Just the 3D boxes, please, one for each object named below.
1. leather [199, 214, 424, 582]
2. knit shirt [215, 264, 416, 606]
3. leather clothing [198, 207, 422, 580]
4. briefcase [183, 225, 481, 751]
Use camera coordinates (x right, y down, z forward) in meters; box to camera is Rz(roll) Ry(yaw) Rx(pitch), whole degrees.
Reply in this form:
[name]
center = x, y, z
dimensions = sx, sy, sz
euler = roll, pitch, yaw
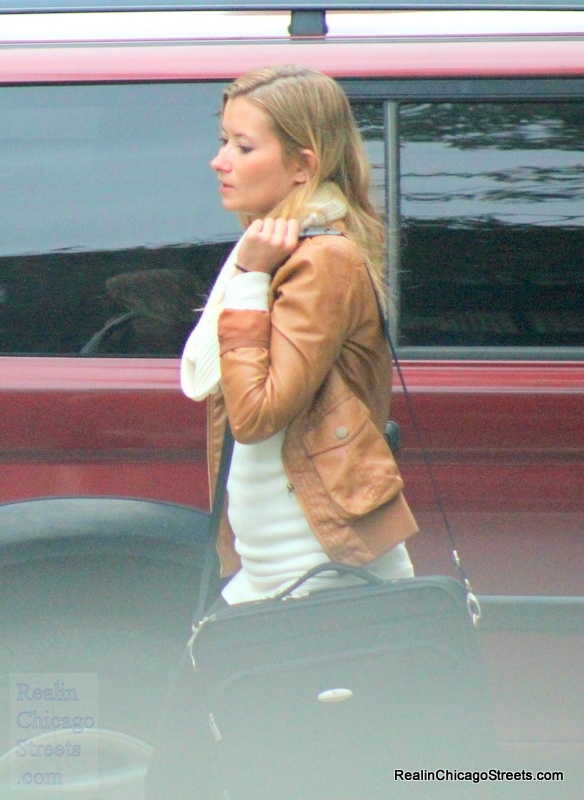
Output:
[leather]
center = 0.056, -0.010, 2.764
dimensions = 0.552, 0.859, 0.689
euler = 0, 0, 1
[knit shirt]
center = 0.073, 0.077, 2.516
dimensions = 0.470, 0.540, 0.319
euler = -23, -1, -4
[leather clothing]
center = 0.091, -0.009, 2.776
dimensions = 0.551, 0.870, 0.704
euler = 0, 0, -2
[briefcase]
center = 0.056, 0.230, 2.492
dimensions = 0.579, 1.207, 0.135
euler = -12, -27, 9
